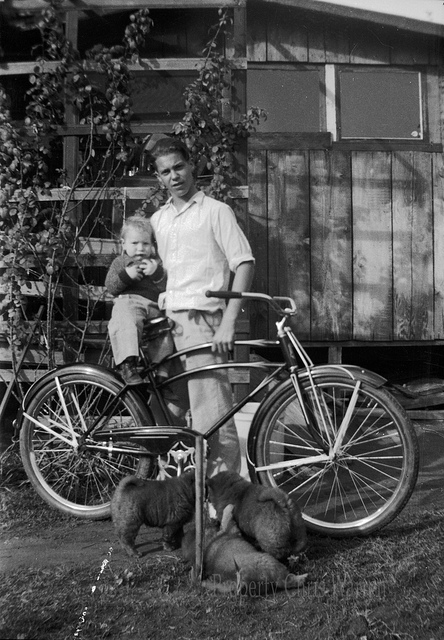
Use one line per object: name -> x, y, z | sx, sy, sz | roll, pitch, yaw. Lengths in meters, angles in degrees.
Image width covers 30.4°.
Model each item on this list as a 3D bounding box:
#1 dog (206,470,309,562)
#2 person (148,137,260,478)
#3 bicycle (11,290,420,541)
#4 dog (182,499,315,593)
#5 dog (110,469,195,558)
dog -> 0.125, 0.766, 3.288 | 0.450, 0.322, 0.235 | 10, 19, 33
person -> -0.078, -0.067, 3.730 | 0.409, 1.506, 0.570 | -3, 8, -19
bicycle -> -0.097, 0.455, 4.064 | 2.152, 1.419, 0.983 | -1, -2, 15
dog -> 0.048, 0.868, 3.152 | 0.546, 0.242, 0.264 | 5, 10, 36
dog -> -0.238, 0.766, 3.401 | 0.415, 0.344, 0.228 | -6, 21, -17
